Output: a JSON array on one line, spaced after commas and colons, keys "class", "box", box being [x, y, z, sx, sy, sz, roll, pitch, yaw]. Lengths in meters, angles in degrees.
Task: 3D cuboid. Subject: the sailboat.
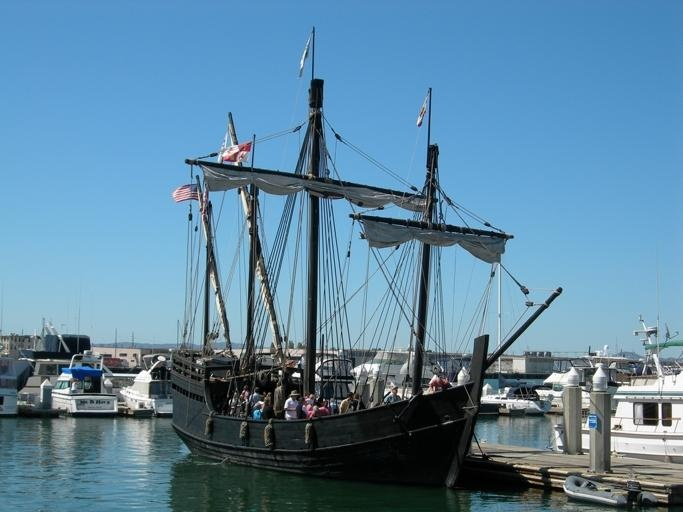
[{"class": "sailboat", "box": [2.040, 3.718, 60.281, 17.147, 20.818, 21.947, 10, -14, -44]}]

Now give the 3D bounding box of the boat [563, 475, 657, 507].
[{"class": "boat", "box": [12.464, 10.966, 47.217, 3.954, 1.338, 1.314, -2, -8, 13]}]
